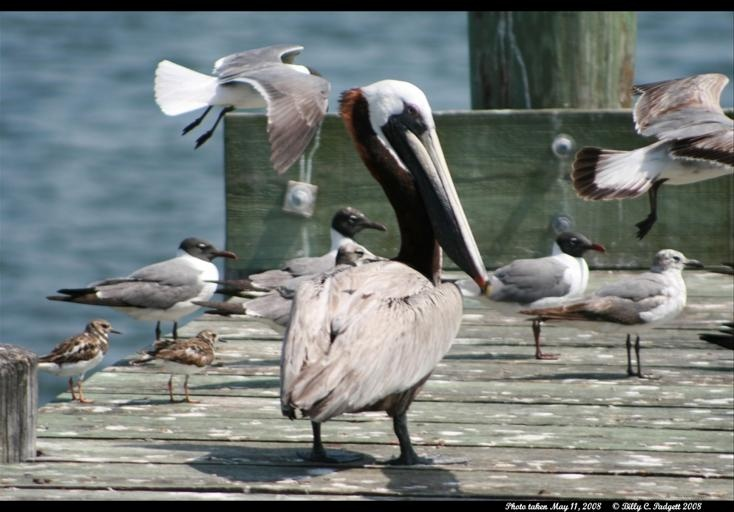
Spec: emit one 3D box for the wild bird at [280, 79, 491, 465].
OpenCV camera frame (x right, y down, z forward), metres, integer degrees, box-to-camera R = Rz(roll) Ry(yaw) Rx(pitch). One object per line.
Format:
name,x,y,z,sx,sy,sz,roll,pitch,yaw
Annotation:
wild bird,0.158,0.083,9.669,1.285,2.658,1.442,1,5,7

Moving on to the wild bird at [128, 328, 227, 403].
wild bird,-1.378,0.807,11.109,0.958,0.428,0.392,2,-4,-32

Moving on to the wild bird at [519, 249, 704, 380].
wild bird,2.106,0.289,11.344,1.334,0.655,0.517,-2,5,-29
